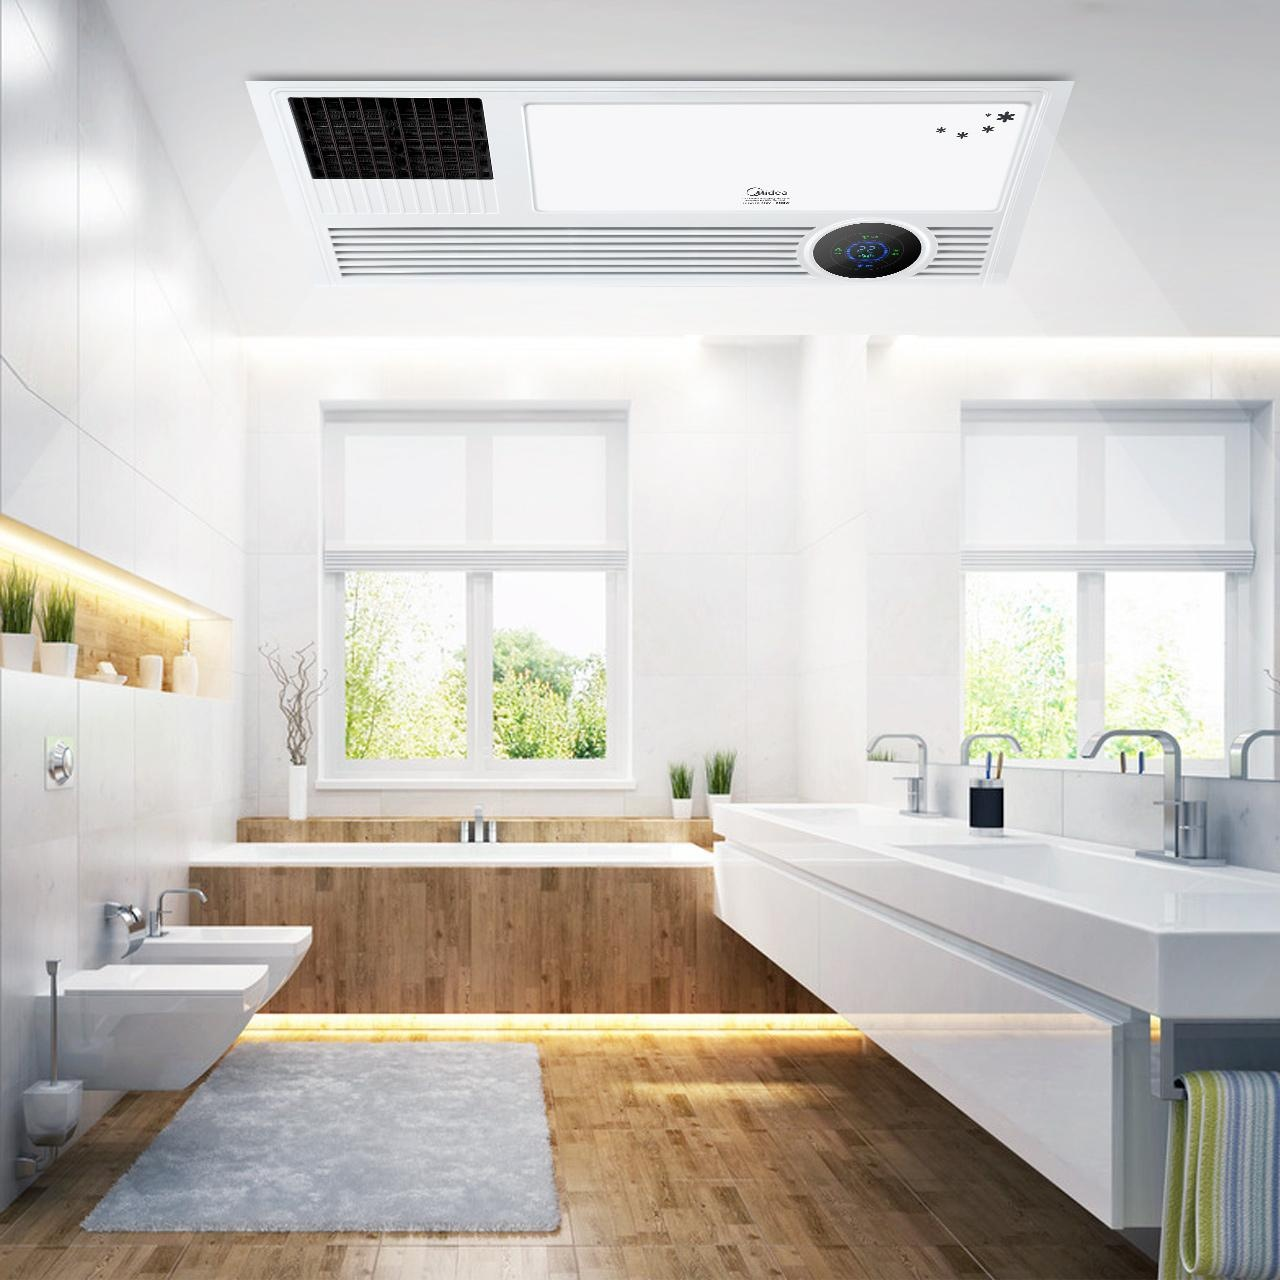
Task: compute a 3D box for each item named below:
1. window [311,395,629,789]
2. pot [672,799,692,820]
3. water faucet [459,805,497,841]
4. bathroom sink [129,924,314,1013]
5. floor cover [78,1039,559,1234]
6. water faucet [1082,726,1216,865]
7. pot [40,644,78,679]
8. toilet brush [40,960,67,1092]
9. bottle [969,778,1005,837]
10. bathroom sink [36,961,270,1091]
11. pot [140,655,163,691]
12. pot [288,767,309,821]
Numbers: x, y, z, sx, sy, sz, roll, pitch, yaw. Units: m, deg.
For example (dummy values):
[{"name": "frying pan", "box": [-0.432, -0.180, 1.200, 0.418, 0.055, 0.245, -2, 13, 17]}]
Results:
[{"name": "window", "box": [-0.841, -0.234, 4.908, 1.642, 2.029, 0.166, 0, -1, -3]}, {"name": "pot", "box": [0.184, 0.740, 4.670, 0.079, 0.084, 0.084, 0, -5, 0]}, {"name": "water faucet", "box": [-0.666, 0.759, 4.358, 0.151, 0.137, 0.172, 2, -5, -10]}, {"name": "bathroom sink", "box": [-1.187, 0.901, 3.077, 0.335, 0.217, 0.276, 2, -1, -3]}, {"name": "floor cover", "box": [-0.751, 1.286, 2.856, 1.053, 0.028, 1.352, 1, -5, -5]}, {"name": "water faucet", "box": [0.995, 0.305, 2.150, 0.207, 0.313, 0.253, 3, -6, -6]}, {"name": "pot", "box": [-1.512, 0.051, 2.792, 0.080, 0.118, 0.095, -1, -1, -2]}, {"name": "toilet brush", "box": [-1.381, 0.892, 2.474, 0.058, 0.288, 0.063, -10, -15, 2]}, {"name": "bottle", "box": [0.889, 0.412, 2.662, 0.128, 0.128, 0.079, 4, -5, -33]}, {"name": "bathroom sink", "box": [-1.184, 0.929, 2.609, 0.393, 0.214, 0.302, 2, -3, -7]}, {"name": "pot", "box": [-1.691, 0.110, 3.653, 0.077, 0.123, 0.200, 3, -5, -26]}, {"name": "pot", "box": [-1.472, 0.648, 4.558, 0.087, 0.231, 0.275, 2, -5, -17]}]
